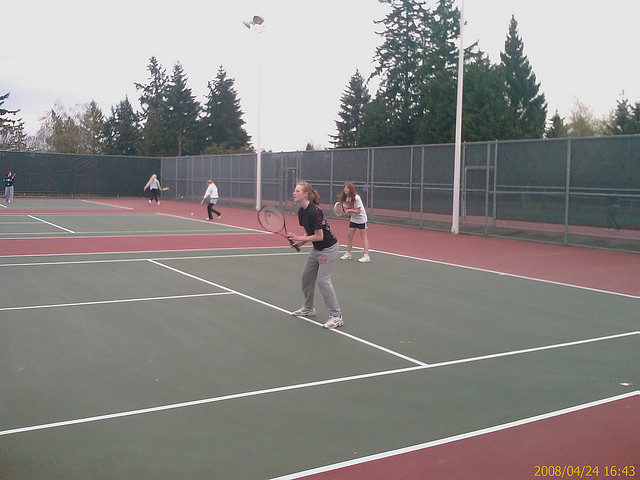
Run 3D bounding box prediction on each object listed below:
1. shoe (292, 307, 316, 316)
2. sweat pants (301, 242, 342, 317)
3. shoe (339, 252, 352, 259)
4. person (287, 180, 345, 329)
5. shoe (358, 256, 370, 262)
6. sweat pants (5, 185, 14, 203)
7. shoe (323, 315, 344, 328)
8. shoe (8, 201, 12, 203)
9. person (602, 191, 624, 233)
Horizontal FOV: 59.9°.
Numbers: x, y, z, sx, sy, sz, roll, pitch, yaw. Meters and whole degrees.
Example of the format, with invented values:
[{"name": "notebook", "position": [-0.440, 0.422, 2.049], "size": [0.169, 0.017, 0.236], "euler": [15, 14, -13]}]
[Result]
[{"name": "shoe", "position": [-0.258, 1.180, 9.145], "size": [0.364, 0.210, 0.143], "euler": [4, -1, -7]}, {"name": "sweat pants", "position": [0.034, 0.627, 8.905], "size": [0.477, 1.184, 0.921], "euler": [-3, 8, -26]}, {"name": "shoe", "position": [0.707, 0.427, 15.232], "size": [0.327, 0.165, 0.133], "euler": [1, 0, 38]}, {"name": "person", "position": [-0.057, 0.174, 8.939], "size": [0.868, 2.186, 1.316], "euler": [0, 7, -3]}, {"name": "shoe", "position": [1.188, 0.489, 14.883], "size": [0.268, 0.136, 0.463], "euler": [2, 8, 6]}, {"name": "sweat pants", "position": [-21.086, -3.162, 37.843], "size": [0.391, 1.092, 2.039], "euler": [-3, 9, -25]}, {"name": "shoe", "position": [0.225, 1.254, 8.518], "size": [0.342, 0.197, 0.120], "euler": [-2, -4, -26]}, {"name": "shoe", "position": [-20.856, -2.579, 37.525], "size": [0.107, 0.143, 0.322], "euler": [-5, 4, -35]}, {"name": "person", "position": [9.349, -0.899, 17.662], "size": [0.532, 1.307, 0.240], "euler": [7, 10, 40]}]
